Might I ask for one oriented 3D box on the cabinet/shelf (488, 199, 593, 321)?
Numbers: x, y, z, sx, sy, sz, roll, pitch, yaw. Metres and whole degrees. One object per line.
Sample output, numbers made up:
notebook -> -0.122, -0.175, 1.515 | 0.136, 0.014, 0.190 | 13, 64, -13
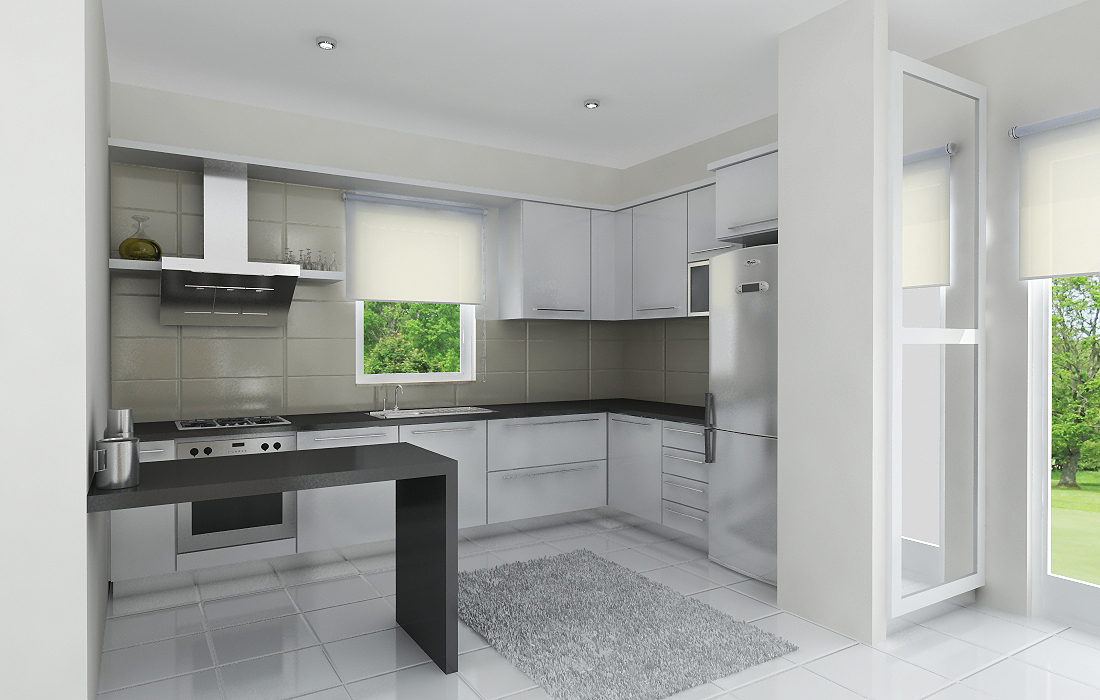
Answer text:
cabinet/shelf -> 0.018, -0.805, 6.446 | 0.807, 1.036, 0.319 | -5, 11, -24

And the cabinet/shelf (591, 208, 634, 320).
cabinet/shelf -> 0.483, -0.741, 6.746 | 0.376, 0.891, 0.294 | 0, -1, -25

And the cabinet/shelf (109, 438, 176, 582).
cabinet/shelf -> -2.710, 1.112, 4.801 | 0.438, 1.005, 0.236 | -4, 11, -19

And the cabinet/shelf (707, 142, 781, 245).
cabinet/shelf -> 1.567, -1.108, 5.256 | 0.436, 0.620, 0.674 | 0, 1, -28

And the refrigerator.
refrigerator -> 1.377, 0.438, 5.090 | 0.281, 2.311, 0.746 | -6, 12, -27

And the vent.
vent -> -2.351, -0.400, 5.277 | 0.894, 0.572, 0.485 | -6, 11, -28

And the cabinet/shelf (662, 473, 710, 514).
cabinet/shelf -> 1.061, 1.120, 5.651 | 0.239, 0.137, 0.283 | 1, 0, -41

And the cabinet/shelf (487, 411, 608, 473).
cabinet/shelf -> 0.191, 0.801, 6.393 | 1.224, 0.431, 0.835 | -8, -8, 32

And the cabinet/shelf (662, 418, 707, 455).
cabinet/shelf -> 1.042, 0.670, 5.669 | 0.221, 0.140, 0.308 | 3, -4, -35

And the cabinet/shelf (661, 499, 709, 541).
cabinet/shelf -> 1.066, 1.296, 5.669 | 0.296, 0.188, 0.416 | 1, -3, -38
